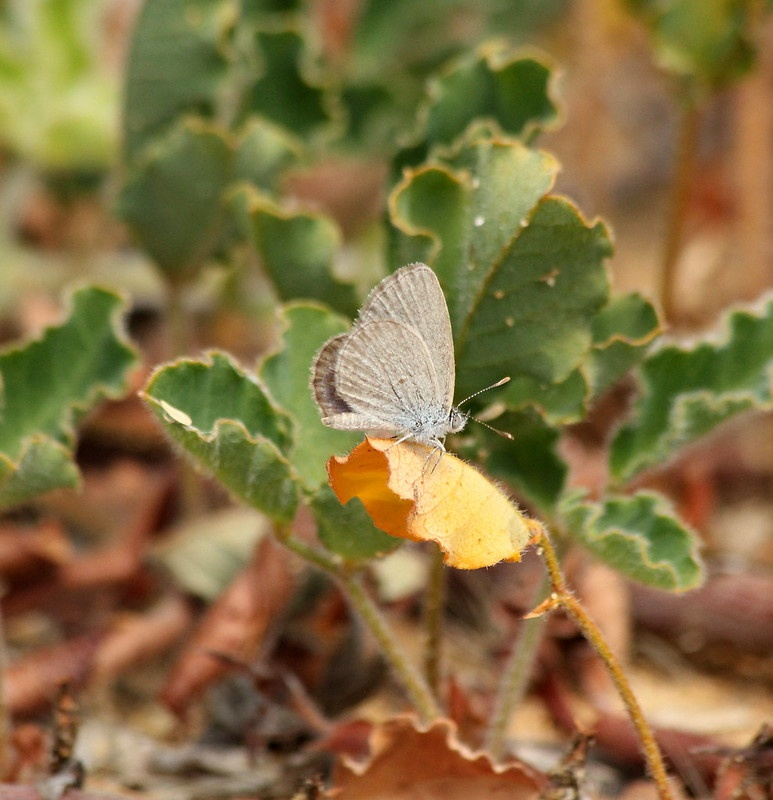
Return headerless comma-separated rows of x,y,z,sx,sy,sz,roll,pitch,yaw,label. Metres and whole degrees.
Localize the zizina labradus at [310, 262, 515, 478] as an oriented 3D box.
0.039,-0.043,1.648,0.345,0.221,0.260,6,79,-9,zizina labradus
